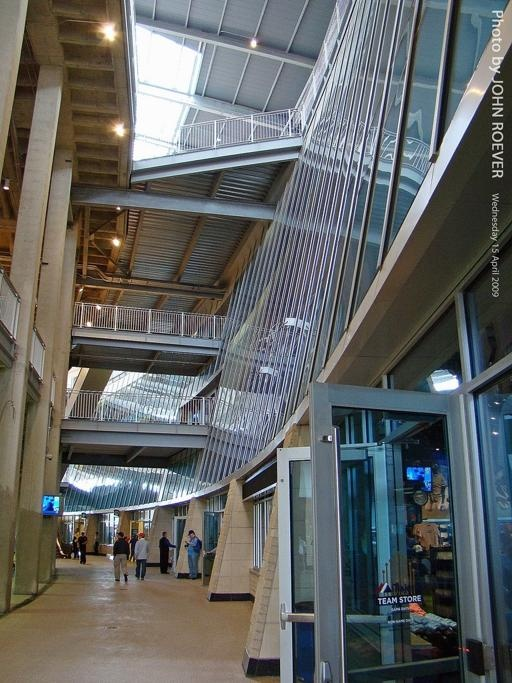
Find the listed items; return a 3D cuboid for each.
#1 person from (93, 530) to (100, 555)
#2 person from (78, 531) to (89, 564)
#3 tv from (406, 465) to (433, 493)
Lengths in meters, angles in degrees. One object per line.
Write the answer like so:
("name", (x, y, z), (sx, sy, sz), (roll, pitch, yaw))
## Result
("person", (-11.270, 14.232, 37.054), (0.349, 1.425, 0.869), (11, -19, -27))
("person", (-8.824, 10.559, 26.646), (0.422, 1.317, 1.824), (7, -18, -15))
("tv", (0.828, 0.686, 2.643), (0.178, 0.116, 0.028), (16, -21, -35))
